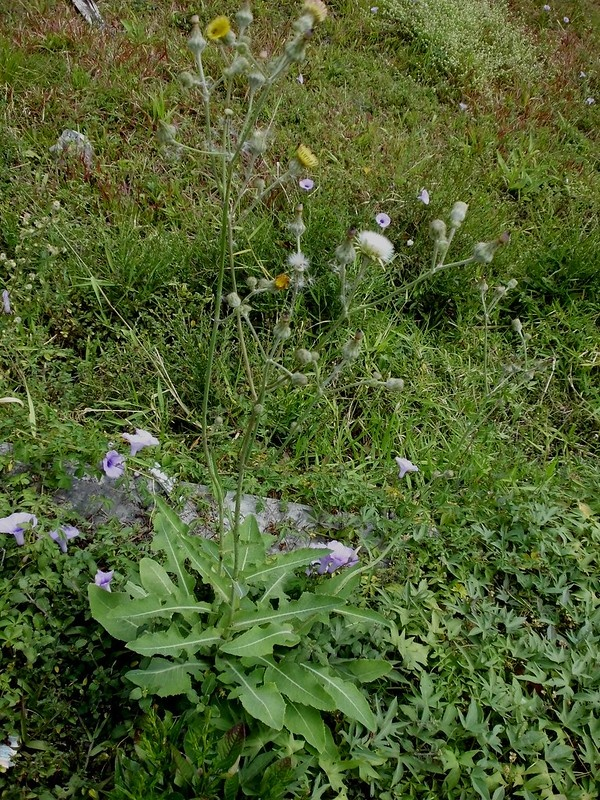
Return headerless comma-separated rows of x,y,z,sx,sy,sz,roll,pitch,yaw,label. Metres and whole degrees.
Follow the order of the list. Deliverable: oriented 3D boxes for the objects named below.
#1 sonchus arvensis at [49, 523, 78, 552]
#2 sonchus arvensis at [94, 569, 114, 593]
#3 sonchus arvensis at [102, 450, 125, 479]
-0.723,0.416,2.184,0.075,0.095,0.065,20,38,-10,sonchus arvensis
-0.571,0.537,2.130,0.061,0.038,0.065,38,47,-47,sonchus arvensis
-0.651,0.220,2.441,0.088,0.042,0.085,32,61,-46,sonchus arvensis
